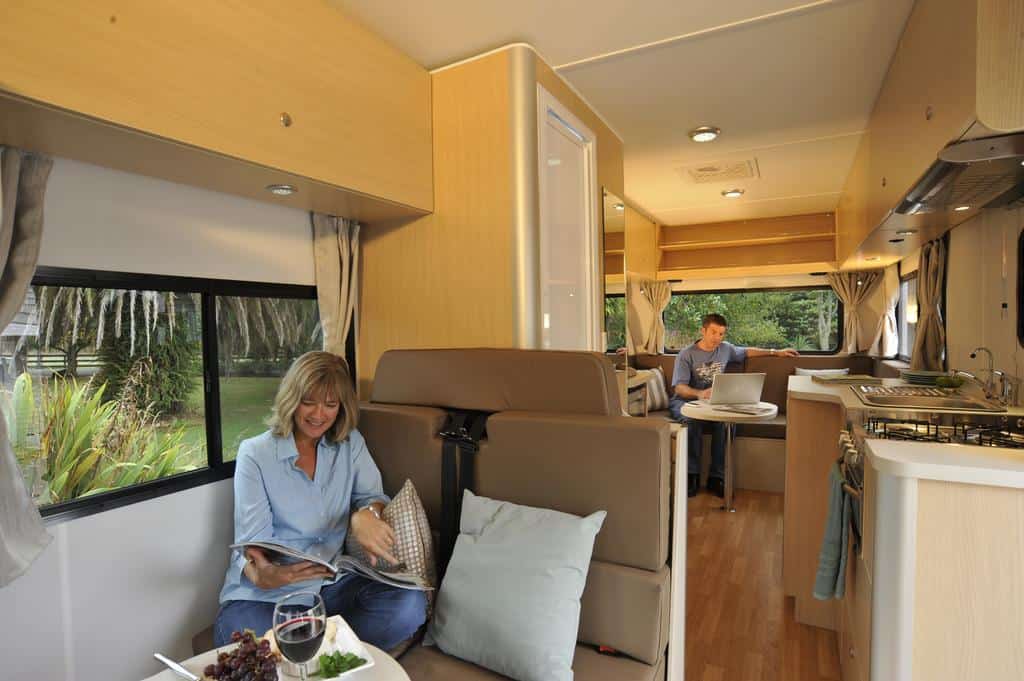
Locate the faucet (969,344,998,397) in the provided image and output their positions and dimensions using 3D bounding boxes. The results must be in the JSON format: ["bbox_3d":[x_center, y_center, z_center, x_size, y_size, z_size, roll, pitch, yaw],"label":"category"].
[{"bbox_3d":[2.771,0.192,3.817,0.095,0.229,0.067,-2,1,33],"label":"faucet"}]

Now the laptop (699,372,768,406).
[{"bbox_3d":[1.806,0.405,5.299,0.366,0.228,0.285,2,2,-1],"label":"laptop"}]

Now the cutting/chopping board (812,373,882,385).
[{"bbox_3d":[2.290,0.276,4.474,0.594,0.051,0.330,1,-3,-20],"label":"cutting/chopping board"}]

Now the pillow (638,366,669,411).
[{"bbox_3d":[1.437,0.479,6.475,0.402,0.407,0.146,11,-15,-41],"label":"pillow"}]

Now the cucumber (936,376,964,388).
[{"bbox_3d":[2.739,0.257,4.092,0.090,0.061,0.077,-2,-8,40],"label":"cucumber"}]

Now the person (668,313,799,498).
[{"bbox_3d":[1.990,0.510,6.072,1.081,1.530,1.048,0,1,26],"label":"person"}]

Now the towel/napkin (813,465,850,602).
[{"bbox_3d":[1.621,1.019,3.338,0.049,0.483,0.143,18,-17,-12],"label":"towel/napkin"}]

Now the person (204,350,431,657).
[{"bbox_3d":[-0.990,0.832,3.177,0.961,1.397,1.048,12,11,38],"label":"person"}]

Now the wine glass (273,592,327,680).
[{"bbox_3d":[-0.801,1.102,2.460,0.176,0.324,0.206,0,-2,-17],"label":"wine glass"}]
